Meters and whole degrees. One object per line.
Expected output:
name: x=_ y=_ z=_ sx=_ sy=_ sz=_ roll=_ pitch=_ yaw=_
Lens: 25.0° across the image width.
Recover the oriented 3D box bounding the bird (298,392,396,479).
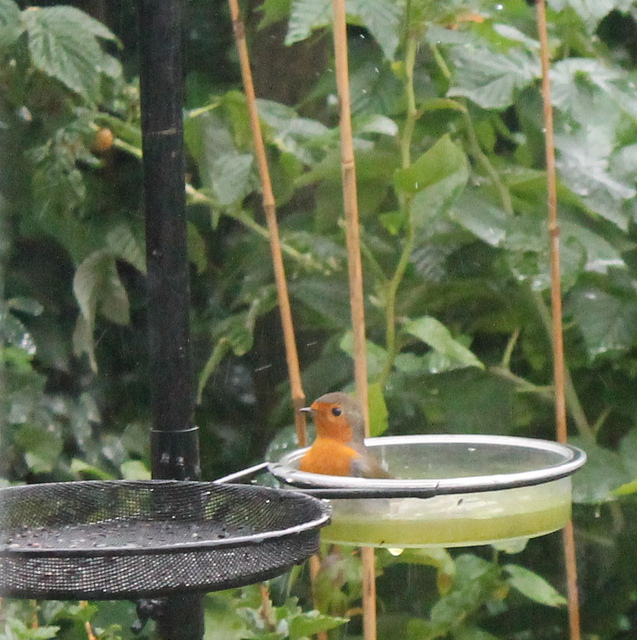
bird: x=0.045 y=0.155 z=1.764 sx=0.121 sy=0.140 sz=0.089 roll=-1 pitch=3 yaw=-28
